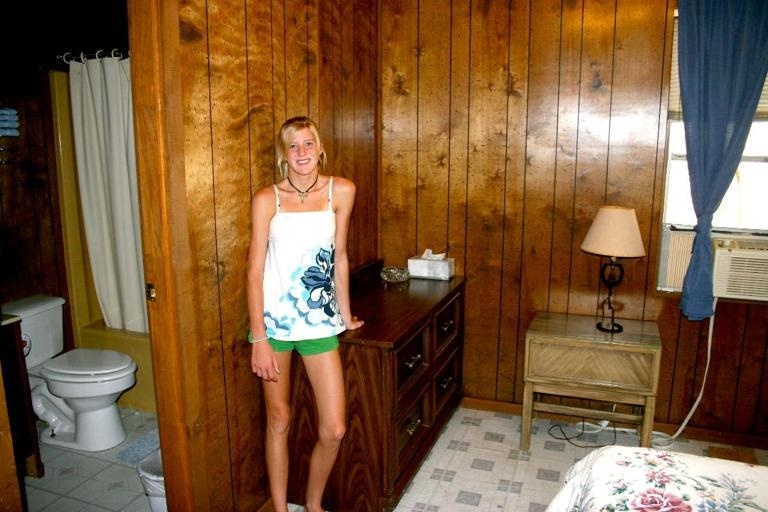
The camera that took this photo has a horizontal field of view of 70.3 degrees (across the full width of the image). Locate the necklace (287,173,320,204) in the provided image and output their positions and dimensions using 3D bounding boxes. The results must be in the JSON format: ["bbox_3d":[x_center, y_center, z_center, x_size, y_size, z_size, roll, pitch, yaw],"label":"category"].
[{"bbox_3d":[-0.433,-0.365,2.969,0.176,0.137,0.115,0,13,-11],"label":"necklace"}]

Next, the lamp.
[{"bbox_3d":[1.546,0.076,3.756,0.386,0.834,0.416,7,13,20],"label":"lamp"}]

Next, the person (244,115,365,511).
[{"bbox_3d":[-0.440,0.382,3.058,0.609,2.250,0.449,2,13,-3],"label":"person"}]

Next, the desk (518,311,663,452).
[{"bbox_3d":[1.383,0.977,3.902,0.829,0.795,0.572,5,2,8],"label":"desk"}]
